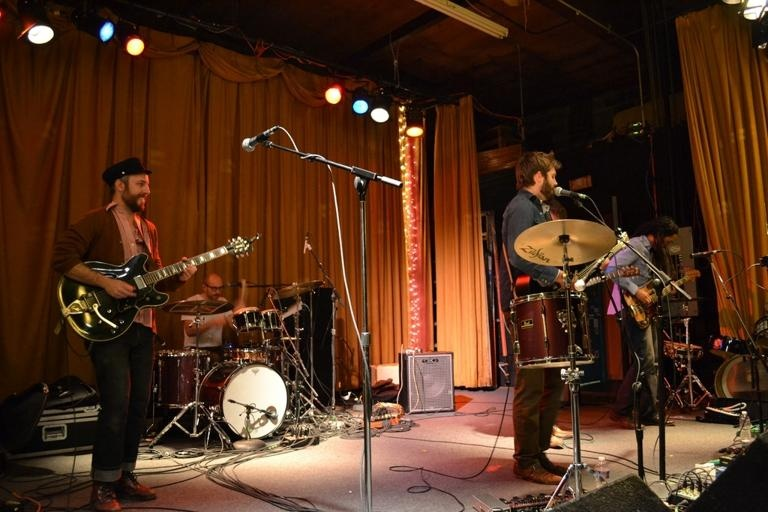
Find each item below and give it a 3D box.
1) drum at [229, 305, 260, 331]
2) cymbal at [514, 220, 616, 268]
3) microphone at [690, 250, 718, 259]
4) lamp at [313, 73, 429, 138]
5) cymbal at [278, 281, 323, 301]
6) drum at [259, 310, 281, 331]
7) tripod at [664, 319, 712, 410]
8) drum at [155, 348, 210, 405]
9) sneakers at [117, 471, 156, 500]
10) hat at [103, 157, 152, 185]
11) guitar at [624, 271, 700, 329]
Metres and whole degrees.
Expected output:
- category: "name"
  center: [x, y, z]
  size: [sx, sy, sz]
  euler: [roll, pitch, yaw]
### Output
- category: "drum"
  center: [-1.619, 0.714, 8.465]
  size: [0.272, 0.222, 0.282]
  euler: [-11, -5, -1]
- category: "cymbal"
  center: [1.605, -0.100, 6.382]
  size: [0.885, 0.332, 0.562]
  euler: [-6, -12, 13]
- category: "microphone"
  center: [3.622, -0.020, 8.174]
  size: [0.541, 0.086, 0.105]
  euler: [-3, 6, -33]
- category: "lamp"
  center: [-0.162, -2.257, 11.221]
  size: [1.507, 0.705, 0.824]
  euler: [-3, -12, -1]
- category: "cymbal"
  center: [-1.068, 0.428, 9.127]
  size: [0.542, 0.181, 1.026]
  euler: [-1, -13, -8]
- category: "drum"
  center: [-1.338, 0.778, 8.554]
  size: [0.217, 0.202, 0.228]
  euler: [-5, -18, 6]
- category: "tripod"
  center: [3.948, 1.462, 9.435]
  size: [0.625, 1.050, 1.084]
  euler: [-2, -2, 4]
- category: "drum"
  center: [-2.319, 1.378, 8.334]
  size: [0.582, 0.596, 0.594]
  euler: [2, -7, -19]
- category: "sneakers"
  center: [-2.247, 2.188, 6.837]
  size: [0.455, 0.223, 0.165]
  euler: [2, -8, -2]
- category: "hat"
  center: [-2.541, -0.805, 7.018]
  size: [0.450, 0.178, 0.324]
  euler: [-20, 0, -1]
- category: "guitar"
  center: [3.171, 0.491, 8.311]
  size: [0.688, 0.280, 0.098]
  euler: [-32, 17, -17]
